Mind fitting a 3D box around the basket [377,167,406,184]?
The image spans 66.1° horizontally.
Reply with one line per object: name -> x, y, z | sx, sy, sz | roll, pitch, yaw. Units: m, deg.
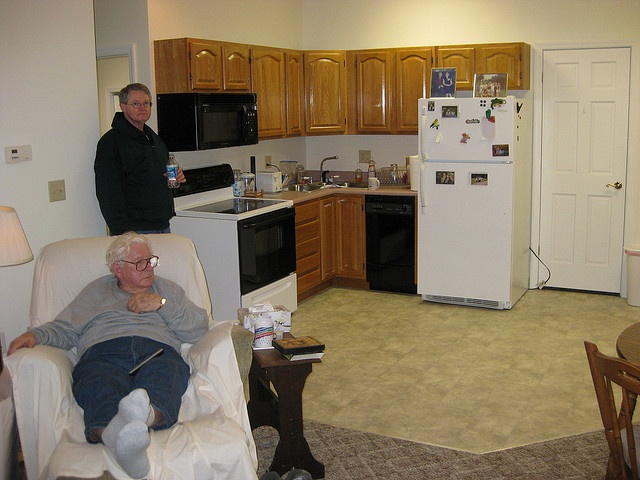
basket -> 0.864, -0.756, 5.866 | 0.229, 0.149, 0.235 | 1, 6, 14

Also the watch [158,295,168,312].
watch -> -0.828, 0.338, 2.589 | 0.058, 0.063, 0.040 | 6, 4, 16

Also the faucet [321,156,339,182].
faucet -> 0.113, -0.878, 6.143 | 0.247, 0.318, 0.500 | -1, 13, 2

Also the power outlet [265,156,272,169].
power outlet -> -0.611, -0.917, 5.809 | 0.028, 0.123, 0.128 | 3, 3, 17

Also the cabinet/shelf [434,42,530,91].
cabinet/shelf -> 1.726, -1.851, 5.387 | 0.316, 0.545, 1.069 | -36, 37, -28

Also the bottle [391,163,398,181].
bottle -> 0.898, -0.799, 5.944 | 0.075, 0.199, 0.203 | 0, 13, 9

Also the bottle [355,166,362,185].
bottle -> 0.479, -0.785, 6.083 | 0.095, 0.166, 0.223 | -1, 13, 4

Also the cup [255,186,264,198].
cup -> -0.649, -0.502, 5.163 | 0.106, 0.150, 0.112 | 0, 11, 0

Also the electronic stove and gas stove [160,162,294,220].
electronic stove and gas stove -> -0.823, -0.449, 4.648 | 0.753, 0.421, 1.021 | 4, 13, 22

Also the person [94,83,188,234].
person -> -1.398, -0.569, 3.673 | 0.554, 1.127, 0.329 | -8, 14, -25

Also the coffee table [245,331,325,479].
coffee table -> -0.184, 0.894, 2.701 | 0.389, 0.738, 0.591 | -5, 13, -14

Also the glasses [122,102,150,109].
glasses -> -1.334, -0.978, 3.598 | 0.169, 0.045, 0.073 | -8, 14, -25

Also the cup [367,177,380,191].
cup -> 0.612, -0.627, 5.587 | 0.171, 0.179, 0.110 | -1, 6, -6

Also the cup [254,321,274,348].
cup -> -0.293, 0.510, 2.692 | 0.121, 0.144, 0.124 | -1, 9, 0

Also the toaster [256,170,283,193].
toaster -> -0.551, -0.631, 5.329 | 0.226, 0.203, 0.227 | 2, 9, 12

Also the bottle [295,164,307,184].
bottle -> -0.244, -0.800, 6.066 | 0.108, 0.209, 0.372 | -2, 13, -3

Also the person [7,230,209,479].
person -> -0.932, 0.574, 2.353 | 0.726, 0.470, 1.141 | 9, 23, -18

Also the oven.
oven -> -0.799, 0.108, 4.826 | 0.829, 0.846, 1.248 | 3, 9, 13

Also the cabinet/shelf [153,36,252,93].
cabinet/shelf -> -1.052, -1.611, 4.651 | 0.351, 0.466, 0.940 | 9, 18, 26
